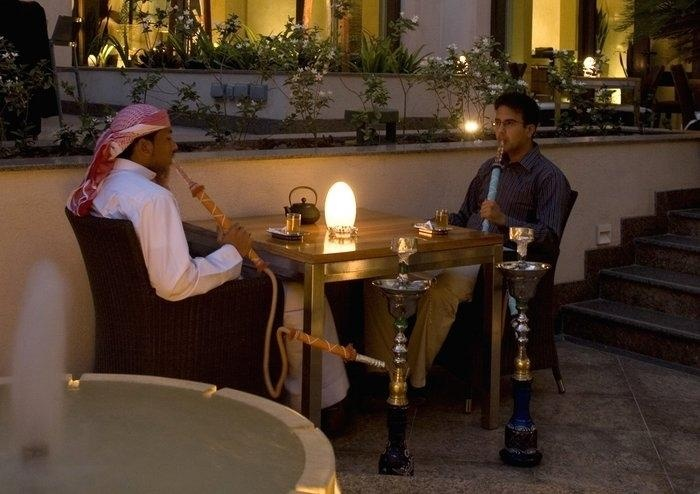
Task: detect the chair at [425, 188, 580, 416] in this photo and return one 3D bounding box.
[{"bbox_3d":[0.790,0.282,3.715,0.924,1.293,1.089,9,-12,10],"label":"chair"}]

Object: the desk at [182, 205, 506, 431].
[{"bbox_3d":[0.121,0.327,3.232,1.131,0.813,1.231,-6,9,-27],"label":"desk"}]

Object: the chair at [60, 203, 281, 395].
[{"bbox_3d":[-0.887,0.157,2.977,0.909,1.081,0.759,-8,14,-34],"label":"chair"}]
